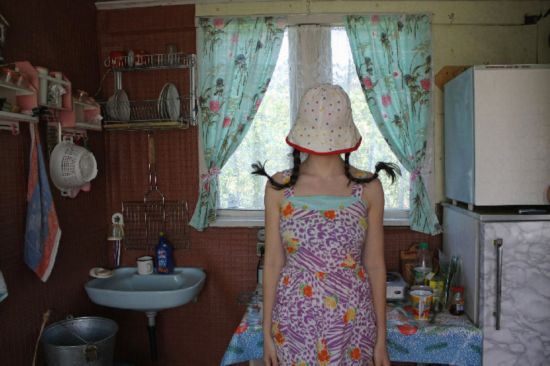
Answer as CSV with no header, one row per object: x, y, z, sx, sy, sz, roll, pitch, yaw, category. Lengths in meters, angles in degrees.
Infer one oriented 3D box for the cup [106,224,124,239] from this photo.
-1.226,0.375,3.629,0.099,0.113,0.111,0,-13,-10,cup

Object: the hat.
0.266,-0.313,2.498,0.330,0.248,0.366,-6,20,-10,hat

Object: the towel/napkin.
-1.569,0.136,3.162,0.218,1.035,0.104,1,3,7,towel/napkin

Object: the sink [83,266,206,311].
-0.964,0.805,3.549,0.846,0.269,0.457,1,3,2,sink

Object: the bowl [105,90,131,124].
-1.190,-0.572,3.637,0.084,0.243,0.228,2,6,20,bowl

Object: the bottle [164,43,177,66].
-0.798,-0.976,3.658,0.086,0.153,0.077,0,3,-17,bottle

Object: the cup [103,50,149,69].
-1.136,-0.927,3.678,0.226,0.101,0.188,-3,9,1,cup

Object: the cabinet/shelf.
-0.941,-0.690,3.632,0.613,0.564,0.289,-3,10,-5,cabinet/shelf

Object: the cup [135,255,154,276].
-1.009,0.635,3.676,0.132,0.110,0.107,6,8,42,cup

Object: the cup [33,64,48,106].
-1.522,-0.613,3.088,0.066,0.247,0.088,-1,3,-26,cup

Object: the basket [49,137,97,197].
-1.421,-0.097,3.297,0.161,0.461,0.321,4,22,29,basket

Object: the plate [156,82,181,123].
-0.810,-0.607,3.615,0.163,0.300,0.231,0,3,-9,plate

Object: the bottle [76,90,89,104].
-1.396,-0.604,3.433,0.080,0.066,0.080,4,-6,-23,bottle

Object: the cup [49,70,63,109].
-1.476,-0.622,3.209,0.078,0.245,0.134,-1,3,-26,cup

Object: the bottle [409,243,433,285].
1.071,0.601,3.483,0.154,0.332,0.358,2,3,18,bottle

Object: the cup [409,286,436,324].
0.970,0.807,3.153,0.135,0.169,0.213,1,6,11,cup
